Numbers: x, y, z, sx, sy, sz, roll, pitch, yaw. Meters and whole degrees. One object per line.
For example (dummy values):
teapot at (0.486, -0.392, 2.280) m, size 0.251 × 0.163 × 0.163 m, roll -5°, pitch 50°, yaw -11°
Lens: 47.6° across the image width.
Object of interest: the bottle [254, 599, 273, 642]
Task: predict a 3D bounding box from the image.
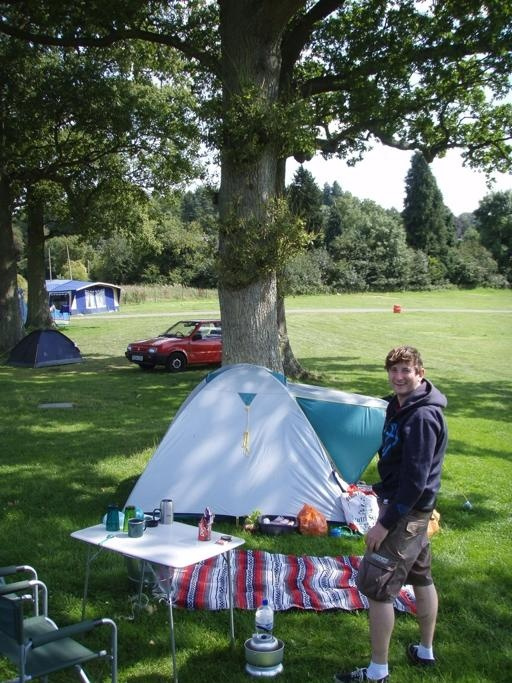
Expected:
bottle at (0.043, 1.834, 3.837) m, size 0.116 × 0.333 × 0.271 m, roll 0°, pitch 3°, yaw 1°

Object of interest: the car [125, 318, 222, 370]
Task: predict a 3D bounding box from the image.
car at (-2.438, 0.166, 17.814) m, size 1.683 × 1.129 × 2.778 m, roll -1°, pitch -1°, yaw 44°

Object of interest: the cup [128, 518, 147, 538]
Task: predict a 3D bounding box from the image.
cup at (-0.795, 1.254, 3.891) m, size 0.086 × 0.079 × 0.110 m, roll -6°, pitch -9°, yaw 42°

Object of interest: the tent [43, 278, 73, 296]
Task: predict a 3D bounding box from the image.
tent at (-14.794, -4.053, 43.249) m, size 1.505 × 1.201 × 5.185 m, roll -1°, pitch 3°, yaw -21°

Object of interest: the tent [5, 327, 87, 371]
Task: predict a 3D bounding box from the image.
tent at (-6.878, 0.259, 18.508) m, size 1.540 × 0.718 × 1.519 m, roll 0°, pitch 8°, yaw 7°

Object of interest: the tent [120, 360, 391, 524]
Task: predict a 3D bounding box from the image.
tent at (0.072, 1.121, 6.261) m, size 2.028 × 0.803 × 2.017 m, roll 1°, pitch 6°, yaw 12°
